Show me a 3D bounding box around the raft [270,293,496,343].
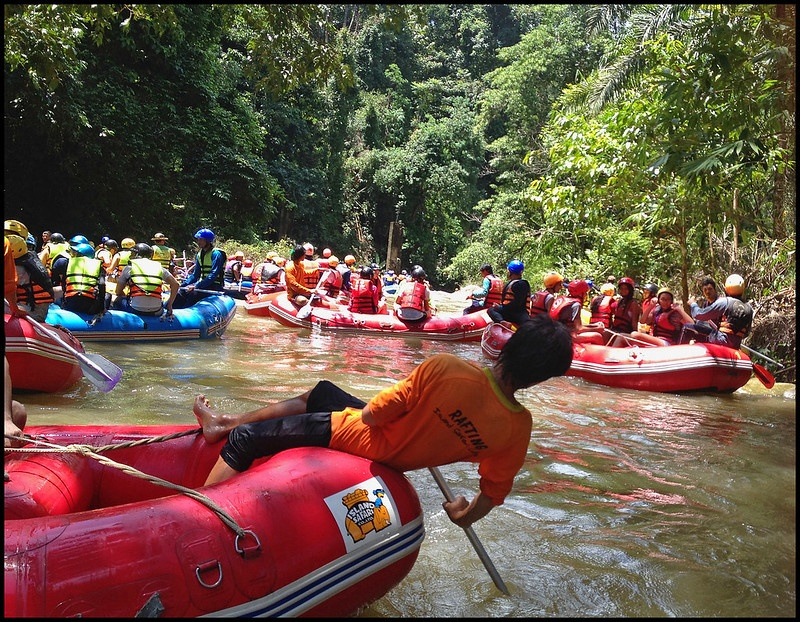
[{"bbox_3d":[-0.352,0.272,12.530,2.848,0.533,1.799,6,-5,-1],"label":"raft"}]

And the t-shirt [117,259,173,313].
[{"bbox_3d":[-3.903,-0.421,9.556,0.996,1.033,0.741,2,12,-15],"label":"t-shirt"}]

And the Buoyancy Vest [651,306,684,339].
[{"bbox_3d":[4.312,0.193,9.745,0.318,0.598,0.494,4,-2,-25],"label":"Buoyancy Vest"}]

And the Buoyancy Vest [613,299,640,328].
[{"bbox_3d":[3.824,0.059,10.269,0.265,0.498,0.367,12,3,-32],"label":"Buoyancy Vest"}]

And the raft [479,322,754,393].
[{"bbox_3d":[3.442,0.831,9.304,3.245,0.806,1.812,0,-7,38],"label":"raft"}]

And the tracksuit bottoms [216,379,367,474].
[{"bbox_3d":[-0.662,0.751,3.577,0.652,0.204,0.532,-14,23,20],"label":"tracksuit bottoms"}]

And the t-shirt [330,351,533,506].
[{"bbox_3d":[0.115,0.621,3.501,0.651,0.476,1.085,41,-26,-27],"label":"t-shirt"}]

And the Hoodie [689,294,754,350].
[{"bbox_3d":[4.803,0.129,9.131,0.792,0.831,0.732,6,9,25],"label":"Hoodie"}]

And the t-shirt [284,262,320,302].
[{"bbox_3d":[-2.231,-0.660,13.449,0.551,0.851,0.711,-5,-1,0],"label":"t-shirt"}]

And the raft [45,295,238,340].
[{"bbox_3d":[-3.891,0.198,9.474,0.953,0.416,2.005,10,6,33],"label":"raft"}]

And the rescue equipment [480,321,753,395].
[{"bbox_3d":[3.306,0.838,9.353,3.249,0.818,1.812,0,-7,37],"label":"rescue equipment"}]

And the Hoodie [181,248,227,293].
[{"bbox_3d":[-3.541,-0.815,11.194,0.886,0.937,0.698,9,10,-23],"label":"Hoodie"}]

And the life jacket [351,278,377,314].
[{"bbox_3d":[-0.787,-0.291,13.120,0.634,0.756,0.413,4,13,0],"label":"life jacket"}]

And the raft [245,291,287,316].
[{"bbox_3d":[-3.361,-0.223,14.513,0.709,0.339,0.848,0,17,7],"label":"raft"}]
